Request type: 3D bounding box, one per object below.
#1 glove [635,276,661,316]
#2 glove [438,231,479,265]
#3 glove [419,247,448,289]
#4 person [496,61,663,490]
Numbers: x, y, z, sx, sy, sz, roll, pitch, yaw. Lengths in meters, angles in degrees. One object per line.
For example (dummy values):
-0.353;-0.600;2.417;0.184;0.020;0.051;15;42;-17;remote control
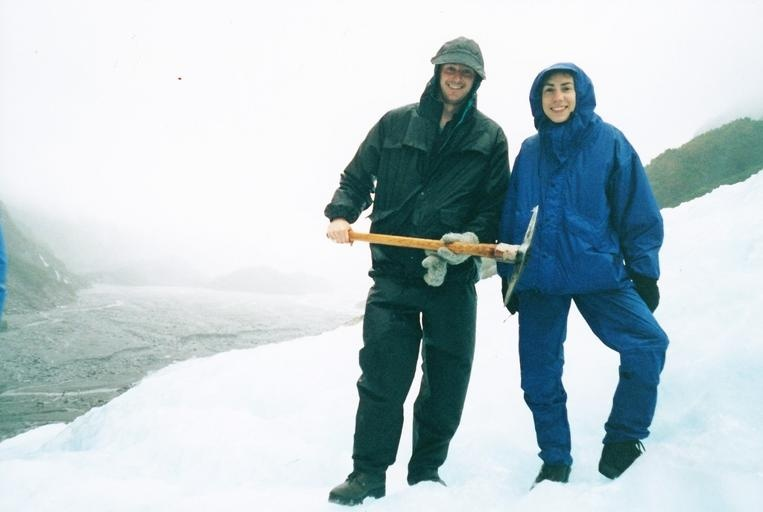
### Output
2.152;0.314;4.513;0.215;0.292;0.103;1;4;3;glove
0.638;-0.067;4.680;0.340;0.257;0.202;2;4;6;glove
0.436;0.104;4.669;0.257;0.283;0.119;-6;8;-12;glove
1.645;0.163;4.552;1.281;3.484;0.436;3;5;23;person
